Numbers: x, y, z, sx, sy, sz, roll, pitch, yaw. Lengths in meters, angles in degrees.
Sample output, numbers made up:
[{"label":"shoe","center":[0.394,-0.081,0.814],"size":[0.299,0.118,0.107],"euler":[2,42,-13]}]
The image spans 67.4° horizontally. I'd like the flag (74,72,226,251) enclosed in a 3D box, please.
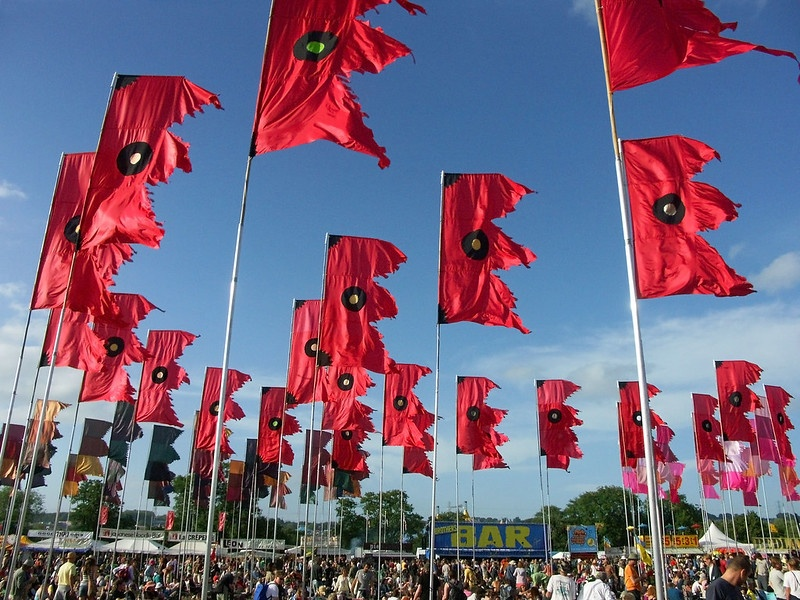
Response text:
[{"label":"flag","center":[-7.078,-3.689,16.012],"size":[3.003,4.535,1.315],"euler":[-6,-24,13]}]
